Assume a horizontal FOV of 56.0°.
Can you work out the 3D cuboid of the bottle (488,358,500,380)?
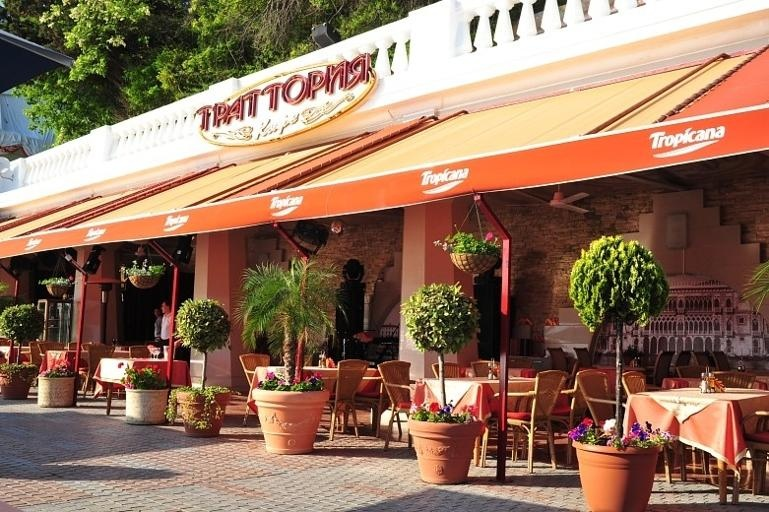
[{"bbox_3d":[1.720,1.781,11.335,0.268,0.287,0.273,1,-1,26],"label":"bottle"}]

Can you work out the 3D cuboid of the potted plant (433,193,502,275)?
[{"bbox_3d":[1.401,-0.175,11.316,0.907,1.130,0.921,0,-2,33],"label":"potted plant"}]

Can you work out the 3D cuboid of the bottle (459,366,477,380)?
[{"bbox_3d":[1.375,2.015,12.418,0.223,0.142,0.220,0,-3,0],"label":"bottle"}]
